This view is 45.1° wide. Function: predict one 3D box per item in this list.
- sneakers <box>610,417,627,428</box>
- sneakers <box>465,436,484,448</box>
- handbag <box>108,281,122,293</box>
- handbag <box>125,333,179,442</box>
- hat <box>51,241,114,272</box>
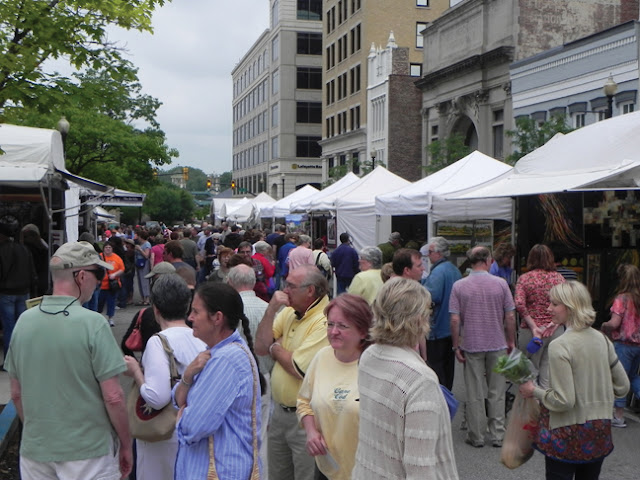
[{"bbox_3d":[3.859,2.381,9.950,0.238,0.131,0.103,0,1,-19],"label":"sneakers"},{"bbox_3d":[1.889,2.505,9.499,0.080,0.104,0.221,1,3,-11],"label":"sneakers"},{"bbox_3d":[-4.392,1.006,16.430,0.117,0.313,0.295,-12,-5,38],"label":"handbag"},{"bbox_3d":[-1.466,1.334,6.799,0.399,1.019,0.739,15,-22,-39],"label":"handbag"},{"bbox_3d":[-2.099,0.129,6.654,0.333,0.205,0.237,-2,3,-35],"label":"hat"}]
